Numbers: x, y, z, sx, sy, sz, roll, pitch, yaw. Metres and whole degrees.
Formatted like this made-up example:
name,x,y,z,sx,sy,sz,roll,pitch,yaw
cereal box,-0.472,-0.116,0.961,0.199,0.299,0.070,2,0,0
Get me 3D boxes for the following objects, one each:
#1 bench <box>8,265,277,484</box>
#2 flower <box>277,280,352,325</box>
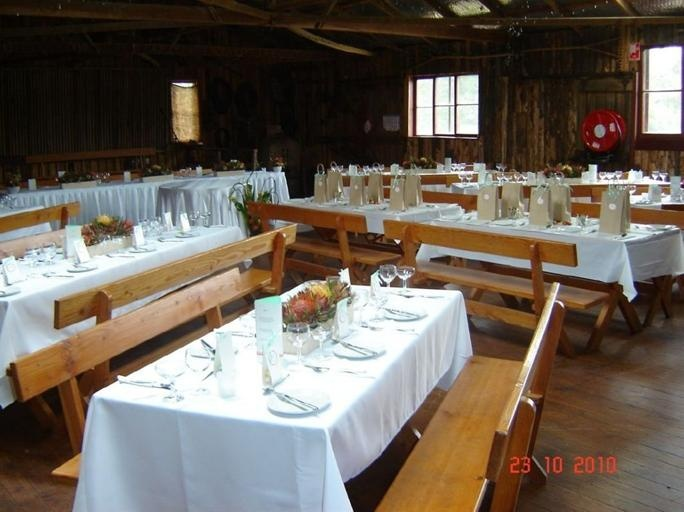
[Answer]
name,x,y,z,sx,sy,sz,roll,pitch,yaw
bench,-1.080,0.599,2.522,0.267,0.394,1.063,12,24,23
flower,-0.157,0.221,2.524,0.213,0.132,0.257,-15,11,-15
